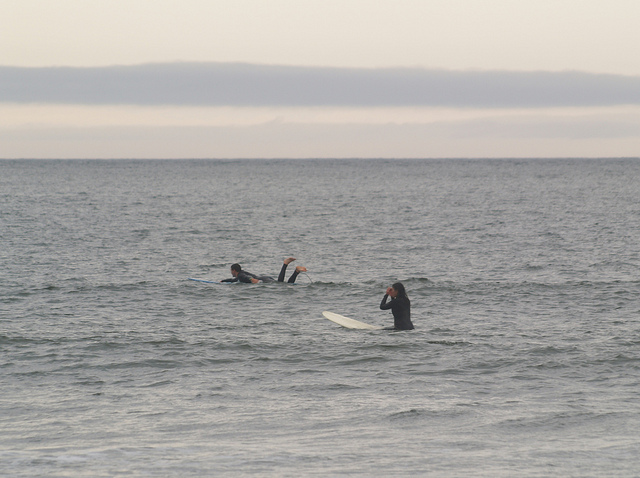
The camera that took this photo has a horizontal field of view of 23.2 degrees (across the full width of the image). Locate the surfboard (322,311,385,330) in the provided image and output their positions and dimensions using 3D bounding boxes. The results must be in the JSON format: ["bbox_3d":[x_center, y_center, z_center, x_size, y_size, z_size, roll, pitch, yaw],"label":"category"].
[{"bbox_3d":[1.413,3.780,72.042,2.797,0.687,1.049,2,5,36],"label":"surfboard"}]

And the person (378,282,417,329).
[{"bbox_3d":[3.556,3.052,70.976,1.404,2.083,0.577,-2,6,-3],"label":"person"}]

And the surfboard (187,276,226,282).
[{"bbox_3d":[-6.061,2.127,82.507,2.922,0.107,0.700,4,5,32],"label":"surfboard"}]

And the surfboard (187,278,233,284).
[{"bbox_3d":[-5.667,2.166,80.648,0.822,0.160,2.485,-5,5,-43],"label":"surfboard"}]
